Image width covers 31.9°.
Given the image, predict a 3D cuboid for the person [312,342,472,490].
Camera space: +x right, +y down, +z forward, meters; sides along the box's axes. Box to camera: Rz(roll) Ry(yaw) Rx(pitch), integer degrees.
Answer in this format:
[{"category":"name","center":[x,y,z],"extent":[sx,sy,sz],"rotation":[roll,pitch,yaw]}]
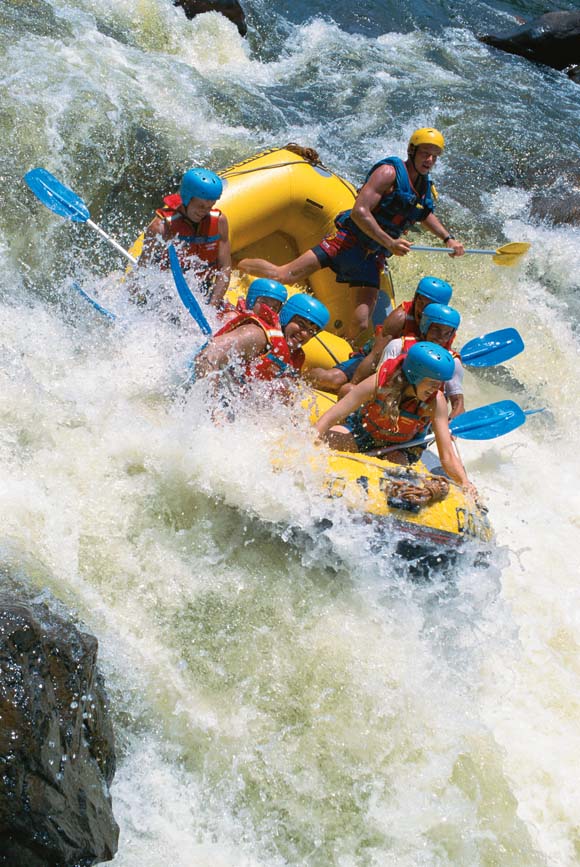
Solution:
[{"category":"person","center":[0.568,-0.092,5.897],"extent":[0.889,1.002,0.538],"rotation":[19,68,-23]}]

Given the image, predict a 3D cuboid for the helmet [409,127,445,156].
[{"category":"helmet","center":[0.865,-1.921,6.522],"extent":[0.205,0.189,0.273],"rotation":[2,62,5]}]

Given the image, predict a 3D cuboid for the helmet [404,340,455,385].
[{"category":"helmet","center":[0.736,-0.386,5.574],"extent":[0.287,0.192,0.202],"rotation":[27,40,13]}]

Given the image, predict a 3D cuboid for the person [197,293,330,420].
[{"category":"person","center":[-0.160,-0.463,5.805],"extent":[0.883,0.384,0.455],"rotation":[-21,99,18]}]

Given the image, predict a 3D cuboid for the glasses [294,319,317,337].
[{"category":"glasses","center":[0.066,-0.613,5.945],"extent":[0.099,0.099,0.127],"rotation":[-52,30,-7]}]

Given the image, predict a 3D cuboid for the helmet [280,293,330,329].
[{"category":"helmet","center":[0.087,-0.720,6.011],"extent":[0.209,0.195,0.245],"rotation":[19,29,-35]}]

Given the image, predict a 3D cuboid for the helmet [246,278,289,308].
[{"category":"helmet","center":[-0.142,-0.843,6.114],"extent":[0.174,0.157,0.214],"rotation":[7,27,-30]}]

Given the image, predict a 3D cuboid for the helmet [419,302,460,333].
[{"category":"helmet","center":[0.870,-0.684,6.008],"extent":[0.169,0.144,0.202],"rotation":[4,28,-20]}]

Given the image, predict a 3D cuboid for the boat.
[{"category":"boat","center":[0.409,-0.659,6.747],"extent":[1.859,0.763,3.014],"rotation":[-30,91,-36]}]
